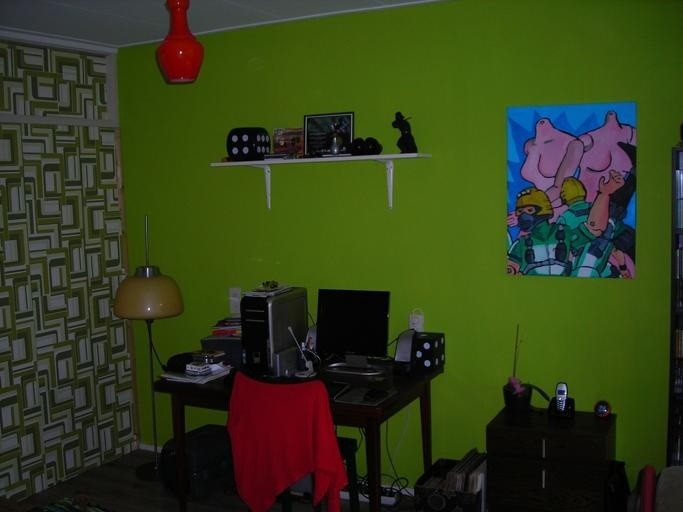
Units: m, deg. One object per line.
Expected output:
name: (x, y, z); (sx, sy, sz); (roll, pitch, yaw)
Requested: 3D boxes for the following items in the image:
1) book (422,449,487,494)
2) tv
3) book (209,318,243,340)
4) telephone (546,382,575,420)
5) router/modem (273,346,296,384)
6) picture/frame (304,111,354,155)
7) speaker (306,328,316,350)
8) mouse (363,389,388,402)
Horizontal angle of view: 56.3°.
book: (0.676, 1.295, 3.843); (0.269, 0.112, 0.214); (-7, 6, 27)
tv: (0.076, 0.489, 4.063); (0.467, 0.453, 0.065); (1, -3, 20)
book: (-0.802, 0.490, 4.412); (0.188, 0.098, 0.270); (1, 5, -8)
telephone: (1.269, 0.815, 3.679); (0.137, 0.206, 0.114); (1, 14, 21)
router/modem: (-0.318, 0.659, 3.951); (0.189, 0.138, 0.105); (-22, -9, 30)
picture/frame: (-0.077, -0.807, 4.207); (0.300, 0.260, 0.030); (0, -6, 26)
speaker: (-0.213, 0.535, 4.114); (0.069, 0.136, 0.047); (2, -3, 35)
mouse: (0.192, 0.777, 3.562); (0.140, 0.038, 0.134); (2, 5, 2)
